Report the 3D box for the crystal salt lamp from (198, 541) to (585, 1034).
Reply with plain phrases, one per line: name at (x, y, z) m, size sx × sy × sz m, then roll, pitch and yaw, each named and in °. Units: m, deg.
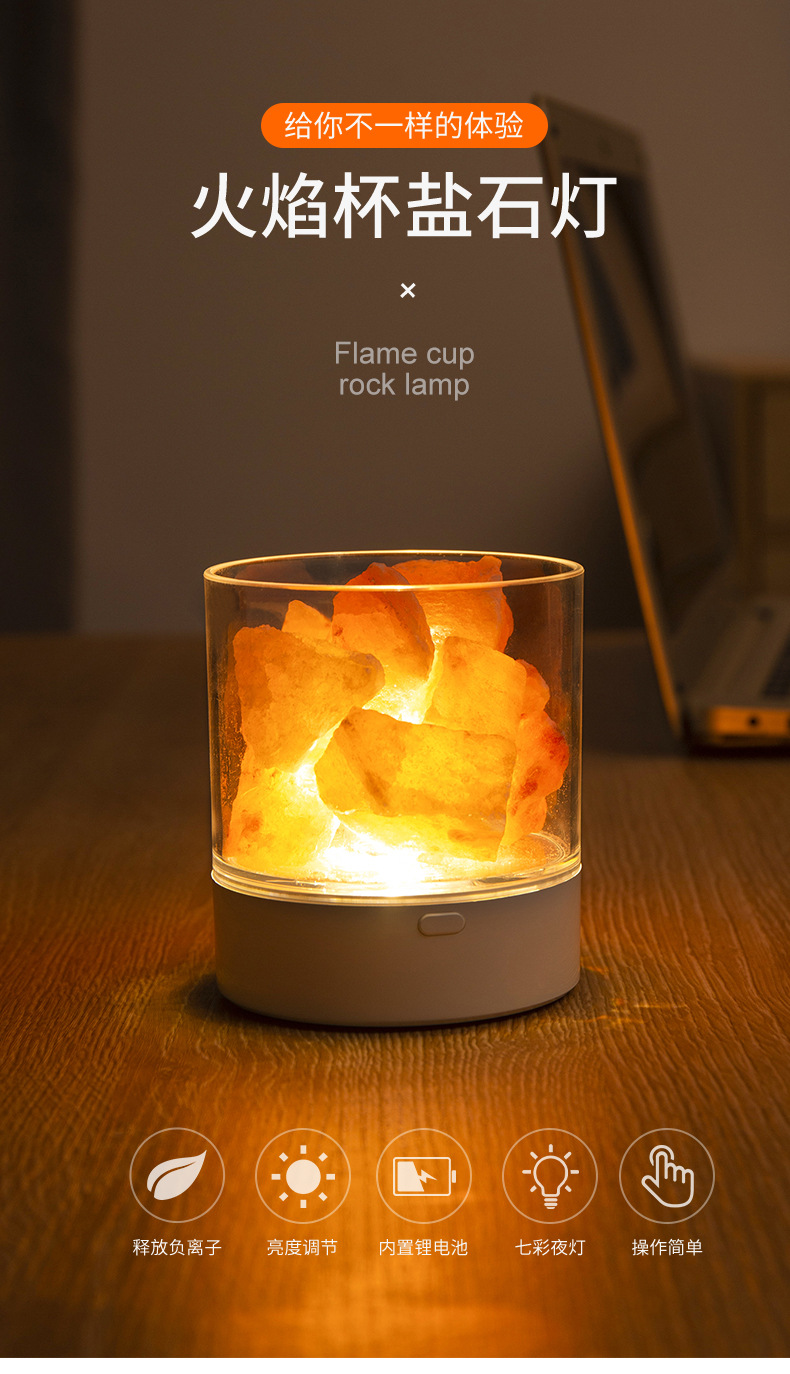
crystal salt lamp at (-0.006, 0.093, 0.888) m, size 0.263 × 0.319 × 0.264 m, roll -1°, pitch 0°, yaw 41°
